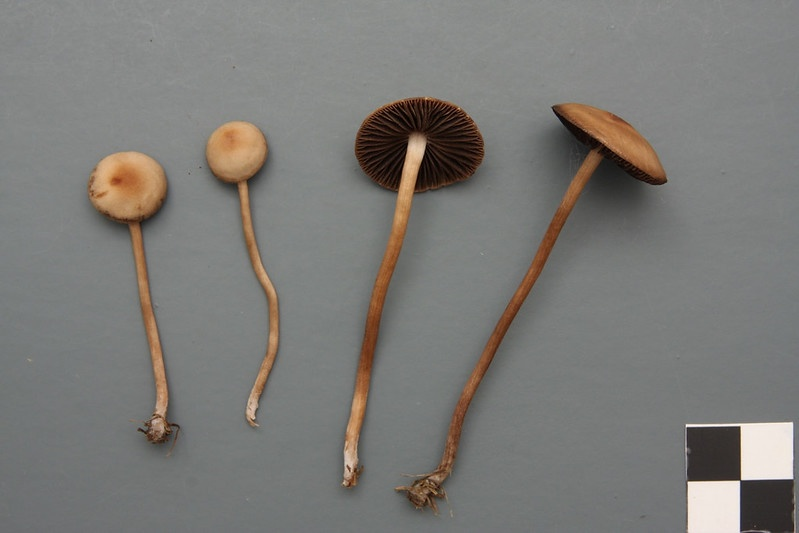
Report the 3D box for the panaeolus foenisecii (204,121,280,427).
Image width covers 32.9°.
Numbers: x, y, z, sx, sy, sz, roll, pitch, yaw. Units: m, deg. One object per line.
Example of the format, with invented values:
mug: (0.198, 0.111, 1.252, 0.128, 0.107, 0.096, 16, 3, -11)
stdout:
panaeolus foenisecii: (-0.578, 0.024, 5.122, 0.303, 0.163, 1.143, -1, -90, -3)
